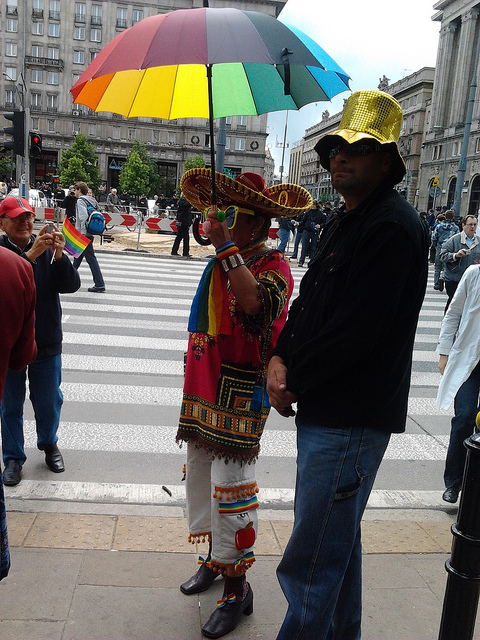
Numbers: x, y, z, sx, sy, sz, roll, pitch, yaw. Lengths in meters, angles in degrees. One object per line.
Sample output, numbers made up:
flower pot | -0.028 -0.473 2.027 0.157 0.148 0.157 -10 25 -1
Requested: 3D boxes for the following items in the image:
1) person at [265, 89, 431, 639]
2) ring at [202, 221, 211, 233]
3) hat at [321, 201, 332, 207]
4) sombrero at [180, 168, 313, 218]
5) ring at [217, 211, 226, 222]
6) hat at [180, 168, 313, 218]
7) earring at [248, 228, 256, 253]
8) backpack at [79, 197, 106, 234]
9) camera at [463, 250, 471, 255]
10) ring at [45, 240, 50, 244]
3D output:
person | 0.341 0.148 2.128 0.412 1.803 0.494 1 7 -26
ring | -0.123 -0.349 2.457 0.011 0.041 0.040 9 -5 -38
hat | 2.978 -3.893 21.826 0.224 0.112 0.183 4 12 43
sombrero | 0.000 -0.558 2.803 0.633 0.193 0.518 -2 16 -16
ring | -0.071 -0.384 2.412 0.030 0.036 0.031 11 7 -1
hat | 0.017 -0.545 2.782 0.531 0.204 0.664 2 6 -19
earring | 0.047 -0.330 2.675 0.015 0.084 0.081 11 9 7
backpack | -2.601 -1.811 11.461 0.571 0.565 0.369 31 28 26
camera | 3.469 -1.012 9.738 0.052 0.115 0.161 -16 1 7
ring | -1.131 -0.449 3.738 0.024 0.022 0.006 1 -9 -32
